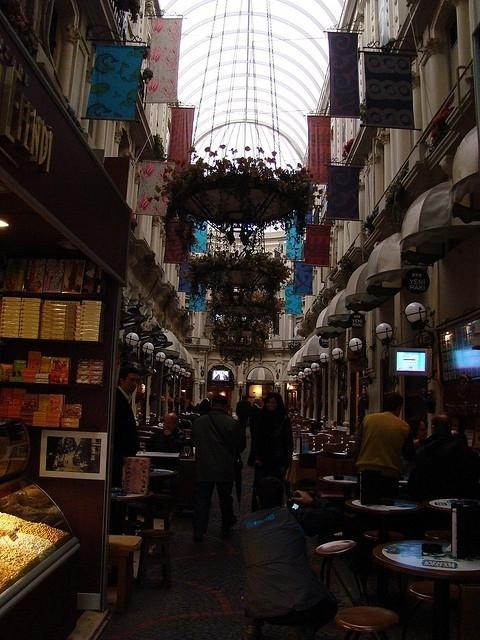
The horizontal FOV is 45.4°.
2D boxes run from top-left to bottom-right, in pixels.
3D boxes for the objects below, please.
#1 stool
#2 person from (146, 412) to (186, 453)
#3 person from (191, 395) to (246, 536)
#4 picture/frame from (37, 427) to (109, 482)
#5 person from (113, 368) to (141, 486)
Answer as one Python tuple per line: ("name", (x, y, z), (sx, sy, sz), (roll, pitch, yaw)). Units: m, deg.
("stool", (-0.974, 2.186, 5.392), (0.508, 1.219, 1.402), (0, -4, -1))
("person", (-1.264, 1.922, 9.851), (0.634, 0.669, 0.872), (1, -12, -8))
("person", (-0.302, 1.972, 7.987), (0.689, 1.932, 0.970), (0, -12, -4))
("picture/frame", (-1.401, 1.140, 4.825), (0.463, 0.349, 0.019), (2, -21, -1))
("person", (-1.230, 1.120, 6.237), (0.276, 1.320, 0.856), (1, -12, -11))
